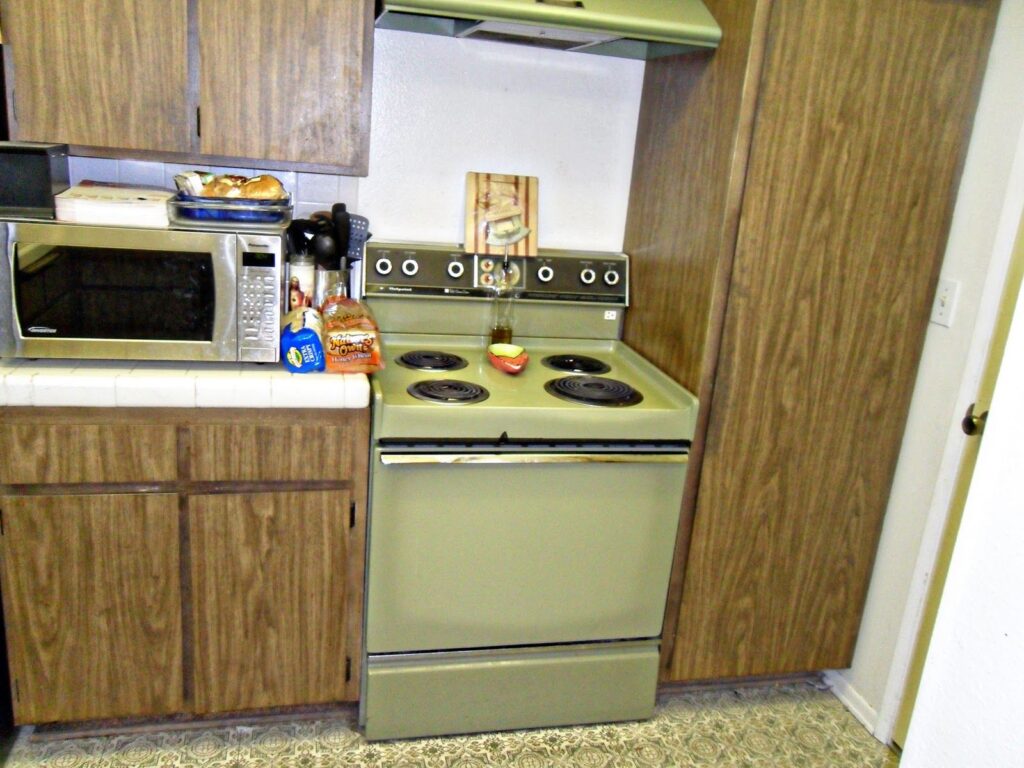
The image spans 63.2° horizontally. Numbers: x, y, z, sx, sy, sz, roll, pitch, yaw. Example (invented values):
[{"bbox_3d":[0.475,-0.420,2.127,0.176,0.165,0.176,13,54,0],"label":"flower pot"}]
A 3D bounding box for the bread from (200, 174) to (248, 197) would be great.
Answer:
[{"bbox_3d":[-0.777,-0.529,2.237,0.115,0.052,0.048,-5,16,-19],"label":"bread"}]

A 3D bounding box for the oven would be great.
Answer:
[{"bbox_3d":[0.156,0.468,2.797,1.267,1.245,0.828,0,9,-10],"label":"oven"}]

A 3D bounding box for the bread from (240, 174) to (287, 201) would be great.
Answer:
[{"bbox_3d":[-0.670,-0.530,2.253,0.090,0.029,0.080,10,24,21],"label":"bread"}]

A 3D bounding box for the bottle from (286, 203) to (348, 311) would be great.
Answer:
[{"bbox_3d":[-0.584,-0.369,2.486,0.188,0.275,0.120,-4,16,-14],"label":"bottle"}]
